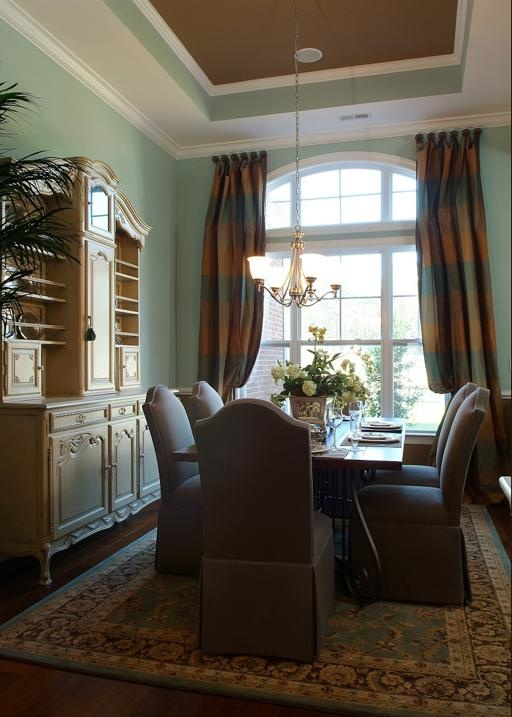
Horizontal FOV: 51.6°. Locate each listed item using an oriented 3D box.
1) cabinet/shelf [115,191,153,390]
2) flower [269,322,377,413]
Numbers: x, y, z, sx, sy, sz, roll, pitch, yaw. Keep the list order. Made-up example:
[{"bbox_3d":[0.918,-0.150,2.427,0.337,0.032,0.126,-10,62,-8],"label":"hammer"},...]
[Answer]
[{"bbox_3d":[-0.929,-0.440,3.954,0.243,1.355,0.865,0,-3,1],"label":"cabinet/shelf"},{"bbox_3d":[0.310,0.124,2.994,0.584,0.649,0.434,10,-15,-11],"label":"flower"}]
